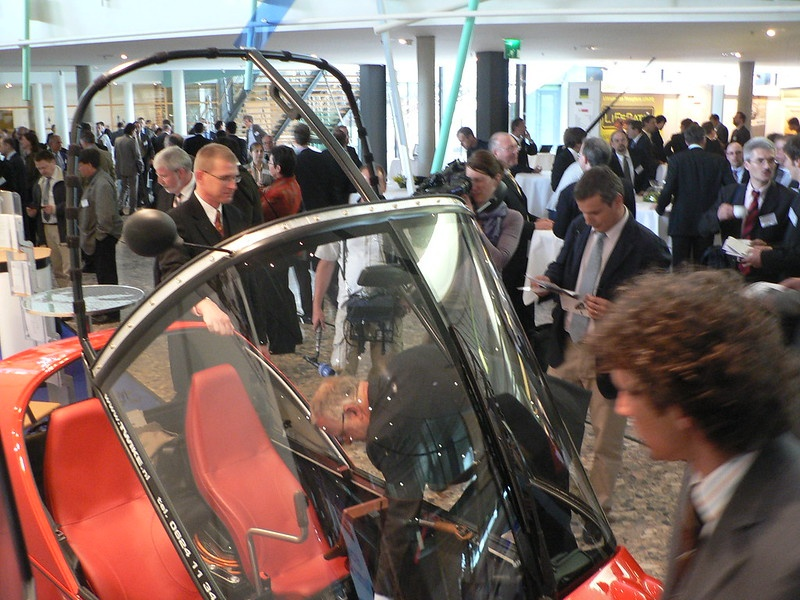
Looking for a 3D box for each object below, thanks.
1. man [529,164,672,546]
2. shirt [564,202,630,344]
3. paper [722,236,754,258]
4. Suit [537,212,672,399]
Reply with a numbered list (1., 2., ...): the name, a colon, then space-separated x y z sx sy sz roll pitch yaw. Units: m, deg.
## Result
1. man: 0.970 0.259 3.118 0.555 1.872 0.643 -15 25 -30
2. shirt: 0.938 -0.116 2.986 0.277 0.147 0.885 -6 52 34
3. paper: 2.201 -0.362 4.035 0.179 0.068 0.186 32 27 14
4. Suit: 0.989 0.119 3.240 0.507 1.397 0.447 18 51 23
